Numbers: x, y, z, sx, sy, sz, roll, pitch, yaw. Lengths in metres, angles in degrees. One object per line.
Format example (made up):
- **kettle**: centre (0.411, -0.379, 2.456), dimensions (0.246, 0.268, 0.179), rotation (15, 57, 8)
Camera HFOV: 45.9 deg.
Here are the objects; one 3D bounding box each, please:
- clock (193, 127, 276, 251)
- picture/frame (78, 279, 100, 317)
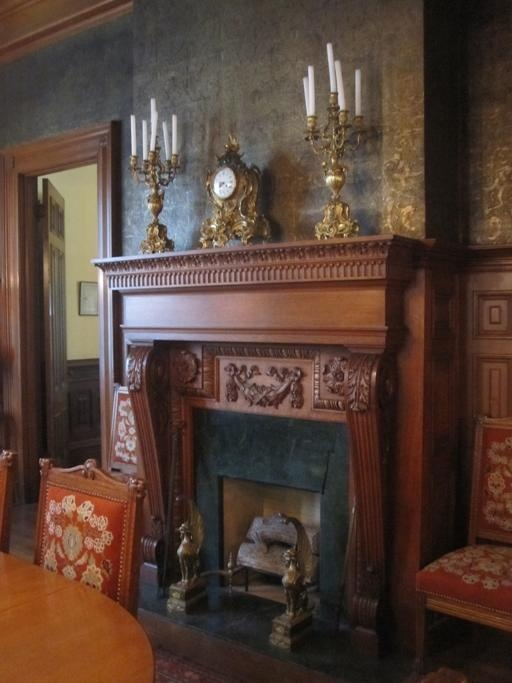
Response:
- **clock**: centre (-0.129, -0.691, 2.771), dimensions (0.262, 0.530, 0.085), rotation (0, 31, -2)
- **picture/frame**: centre (-1.554, -0.405, 5.565), dimensions (0.053, 0.273, 0.217), rotation (0, 1, 38)
